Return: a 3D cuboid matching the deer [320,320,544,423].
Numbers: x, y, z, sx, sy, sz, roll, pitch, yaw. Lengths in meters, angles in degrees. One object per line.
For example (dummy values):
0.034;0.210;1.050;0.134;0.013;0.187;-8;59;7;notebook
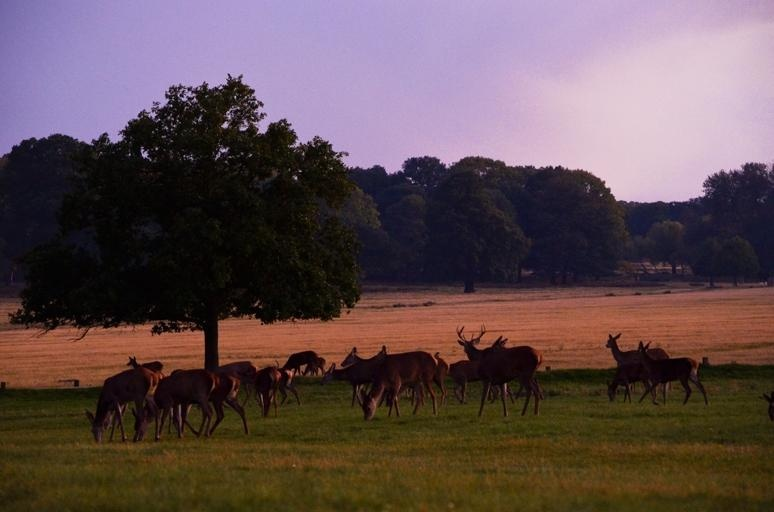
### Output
2.594;5.904;56.845;9.214;3.325;5.602;-1;5;0;deer
